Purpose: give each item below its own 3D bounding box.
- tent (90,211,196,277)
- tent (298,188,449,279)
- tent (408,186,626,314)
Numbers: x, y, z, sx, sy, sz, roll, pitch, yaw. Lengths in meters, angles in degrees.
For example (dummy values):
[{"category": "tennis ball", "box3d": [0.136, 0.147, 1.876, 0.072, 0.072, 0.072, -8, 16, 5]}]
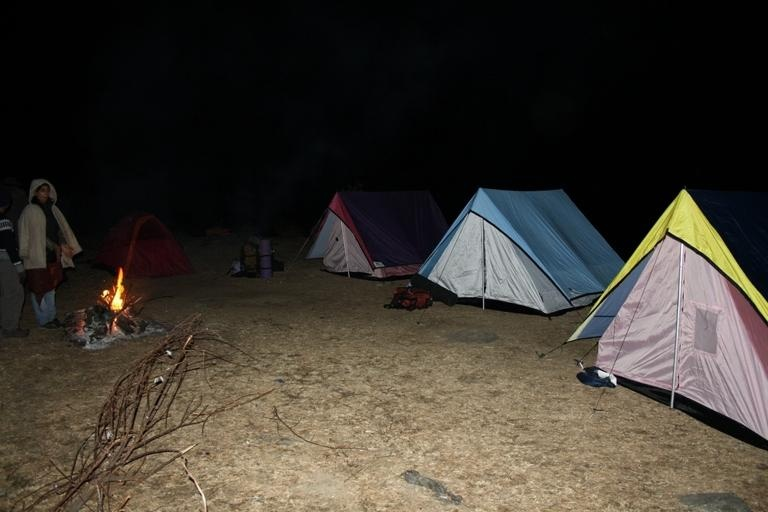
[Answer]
[{"category": "tent", "box3d": [-6.340, -0.293, 15.650, 2.170, 1.155, 1.722, 13, 16, 37]}, {"category": "tent", "box3d": [0.160, -0.666, 16.260, 3.008, 1.385, 2.905, -10, 15, -30]}, {"category": "tent", "box3d": [3.309, -0.073, 12.774, 3.418, 1.619, 3.331, -8, 14, -37]}]
